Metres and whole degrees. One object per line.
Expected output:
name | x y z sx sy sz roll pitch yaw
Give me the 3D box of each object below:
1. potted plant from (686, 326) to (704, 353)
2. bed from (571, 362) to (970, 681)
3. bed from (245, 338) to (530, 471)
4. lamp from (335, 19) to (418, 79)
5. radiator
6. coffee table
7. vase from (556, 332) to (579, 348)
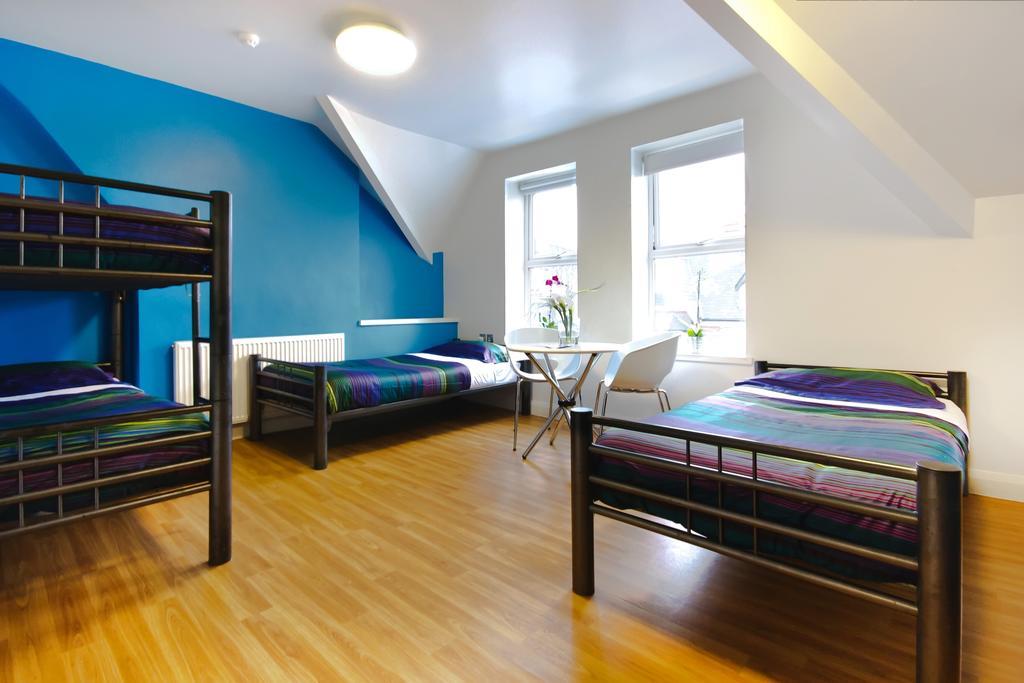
potted plant | 1.454 -0.013 5.160 0.143 0.200 0.167 4 9 19
bed | 1.553 0.598 3.249 1.143 0.751 1.994 1 4 39
bed | -1.052 0.397 5.392 1.046 0.703 1.852 9 12 44
lamp | -0.882 -1.971 4.407 0.482 0.194 0.591 5 9 29
radiator | -1.823 0.280 4.559 0.814 0.414 0.037 -4 8 -42
coffee table | 0.427 0.393 5.217 0.862 0.841 0.893 4 7 38
vase | 0.431 -0.004 4.919 0.125 0.115 0.115 0 2 13
